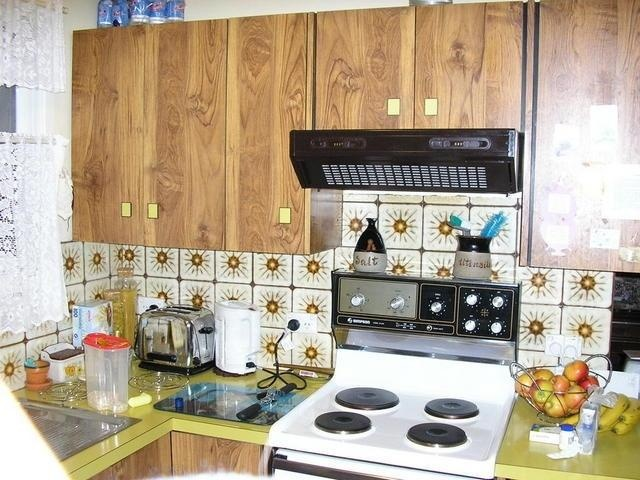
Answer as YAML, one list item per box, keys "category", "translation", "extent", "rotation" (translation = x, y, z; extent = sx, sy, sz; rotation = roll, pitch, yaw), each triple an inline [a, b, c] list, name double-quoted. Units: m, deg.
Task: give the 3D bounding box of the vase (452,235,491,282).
- category: "vase"
  translation: [0.645, 0.073, 2.168]
  extent: [0.163, 0.179, 0.165]
  rotation: [1, 6, -16]

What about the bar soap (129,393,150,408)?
- category: "bar soap"
  translation: [-0.706, 0.624, 2.011]
  extent: [0.089, 0.040, 0.066]
  rotation: [-3, 9, -21]

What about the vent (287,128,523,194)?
- category: "vent"
  translation: [0.320, -0.287, 1.914]
  extent: [0.823, 0.230, 0.297]
  rotation: [4, 9, 21]

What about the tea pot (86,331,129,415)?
- category: "tea pot"
  translation: [-0.827, 0.509, 1.975]
  extent: [0.200, 0.275, 0.102]
  rotation: [3, 8, 20]

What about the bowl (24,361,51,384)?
- category: "bowl"
  translation: [-1.204, 0.561, 2.175]
  extent: [0.097, 0.078, 0.093]
  rotation: [4, 1, 0]

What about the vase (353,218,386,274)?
- category: "vase"
  translation: [0.225, 0.020, 2.260]
  extent: [0.151, 0.231, 0.135]
  rotation: [1, 8, 3]

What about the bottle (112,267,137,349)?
- category: "bottle"
  translation: [-0.984, 0.330, 2.611]
  extent: [0.106, 0.380, 0.204]
  rotation: [-2, 8, -17]

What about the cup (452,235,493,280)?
- category: "cup"
  translation: [0.631, 0.066, 2.102]
  extent: [0.165, 0.176, 0.165]
  rotation: [0, 3, 0]

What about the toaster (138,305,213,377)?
- category: "toaster"
  translation: [-0.677, 0.460, 2.424]
  extent: [0.355, 0.269, 0.219]
  rotation: [4, 5, 25]

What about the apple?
- category: "apple"
  translation: [0.879, 0.541, 1.921]
  extent: [0.242, 0.140, 0.243]
  rotation: [-1, -5, -25]
